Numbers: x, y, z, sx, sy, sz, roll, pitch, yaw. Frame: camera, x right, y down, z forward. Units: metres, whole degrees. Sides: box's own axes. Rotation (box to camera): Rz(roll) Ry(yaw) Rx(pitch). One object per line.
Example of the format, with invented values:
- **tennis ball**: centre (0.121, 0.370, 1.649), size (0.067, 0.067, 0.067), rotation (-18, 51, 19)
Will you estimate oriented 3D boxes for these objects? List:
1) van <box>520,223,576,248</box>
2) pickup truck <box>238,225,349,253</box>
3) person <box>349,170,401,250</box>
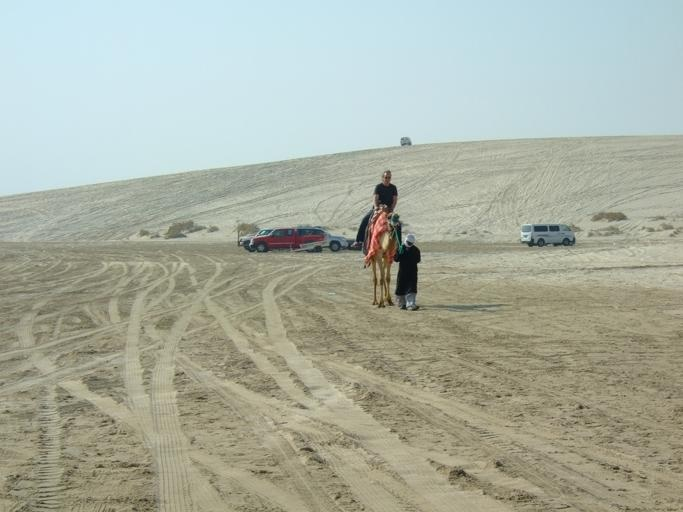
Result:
- **van**: centre (12.829, -1.368, 40.477), size (3.290, 0.842, 1.478), rotation (0, 2, 3)
- **pickup truck**: centre (-2.722, -0.977, 38.891), size (5.614, 1.460, 1.085), rotation (-2, 12, -8)
- **person**: centre (1.048, -1.178, 16.485), size (1.481, 1.775, 0.855), rotation (7, -2, 5)
